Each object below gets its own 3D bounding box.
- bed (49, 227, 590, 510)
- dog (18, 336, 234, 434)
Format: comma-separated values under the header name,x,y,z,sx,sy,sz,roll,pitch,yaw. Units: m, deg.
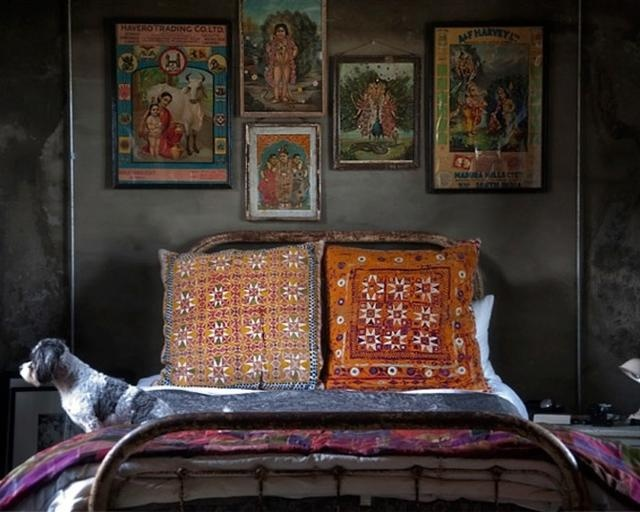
name,x,y,z,sx,sy,sz,roll,pitch,yaw
bed,-0.013,0.384,3.415,2.055,0.680,2.070,-2,13,-19
dog,-0.863,0.604,3.450,0.738,0.452,0.251,6,3,-11
